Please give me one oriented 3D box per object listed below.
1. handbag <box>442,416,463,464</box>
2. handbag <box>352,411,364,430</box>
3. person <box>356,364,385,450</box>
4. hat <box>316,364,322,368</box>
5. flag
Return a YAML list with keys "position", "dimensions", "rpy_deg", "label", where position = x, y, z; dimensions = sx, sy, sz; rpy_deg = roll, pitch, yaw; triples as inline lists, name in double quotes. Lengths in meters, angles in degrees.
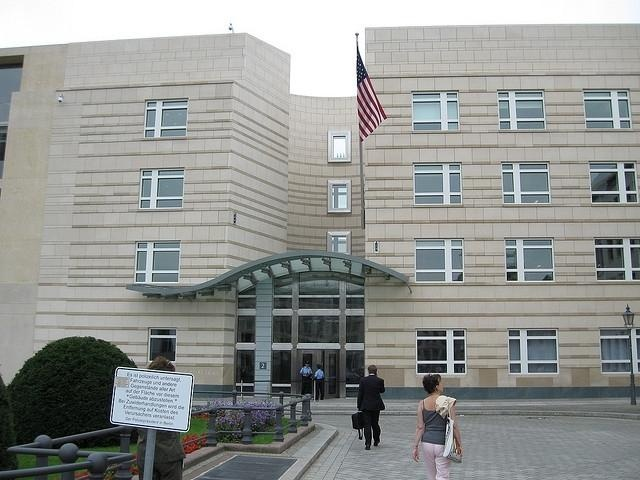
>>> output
- position: [2.649, 4.017, 13.559]
  dimensions: [0.350, 0.889, 0.660]
  rpy_deg: [-4, -14, 17]
  label: "handbag"
- position: [1.084, 5.166, 19.322]
  dimensions: [0.501, 0.444, 0.258]
  rpy_deg: [12, -18, -43]
  label: "handbag"
- position: [1.470, 4.955, 19.656]
  dimensions: [0.749, 2.142, 0.699]
  rpy_deg: [-1, -14, 4]
  label: "person"
- position: [-0.058, 6.828, 36.346]
  dimensions: [0.227, 0.167, 0.178]
  rpy_deg: [-2, -5, 8]
  label: "hat"
- position: [2.393, -7.003, 32.539]
  dimensions: [1.198, 3.987, 1.694]
  rpy_deg: [-1, -13, 4]
  label: "flag"
